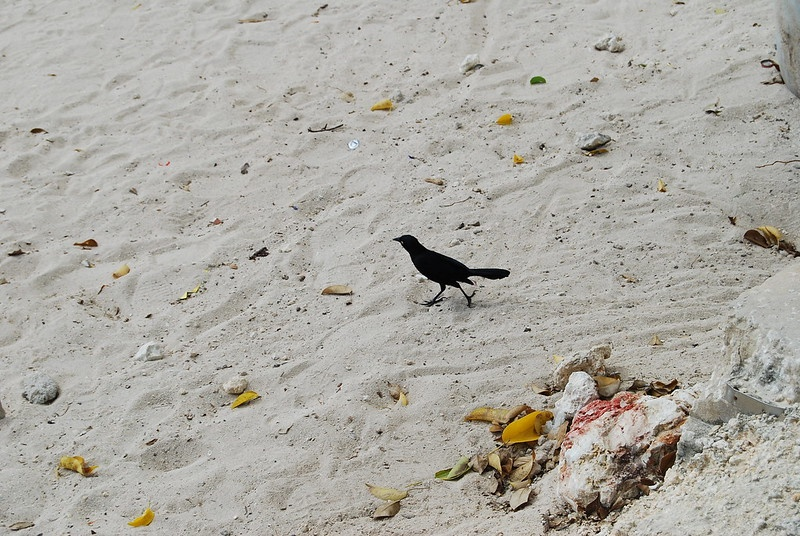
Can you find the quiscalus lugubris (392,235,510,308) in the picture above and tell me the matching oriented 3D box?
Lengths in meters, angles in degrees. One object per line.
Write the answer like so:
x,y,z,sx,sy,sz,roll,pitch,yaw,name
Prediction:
0.462,0.015,11.768,1.076,0.601,0.326,1,17,30,quiscalus lugubris
